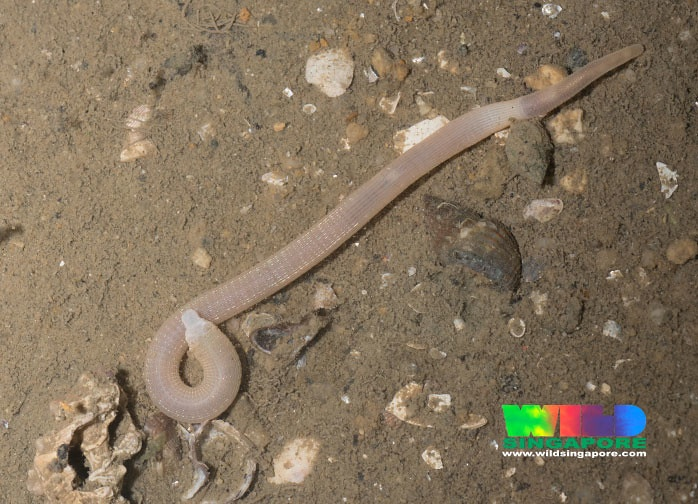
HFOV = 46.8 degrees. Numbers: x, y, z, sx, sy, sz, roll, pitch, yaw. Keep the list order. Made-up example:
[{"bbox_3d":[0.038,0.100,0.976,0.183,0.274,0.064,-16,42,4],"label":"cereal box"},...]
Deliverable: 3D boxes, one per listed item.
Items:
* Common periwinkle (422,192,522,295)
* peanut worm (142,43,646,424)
[{"bbox_3d":[1.177,-0.093,7.786,1.105,0.220,0.614,23,87,2],"label":"Common periwinkle"},{"bbox_3d":[-0.020,-0.122,7.932,4.889,0.294,0.948,-37,87,-2],"label":"peanut worm"}]
